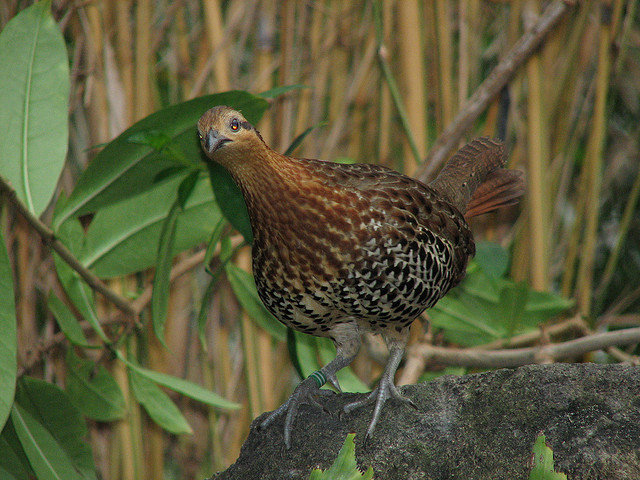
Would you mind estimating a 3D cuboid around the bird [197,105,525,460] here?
[{"bbox_3d":[0.252,-0.016,5.810,1.645,1.409,0.792,-17,13,-42],"label":"bird"}]
